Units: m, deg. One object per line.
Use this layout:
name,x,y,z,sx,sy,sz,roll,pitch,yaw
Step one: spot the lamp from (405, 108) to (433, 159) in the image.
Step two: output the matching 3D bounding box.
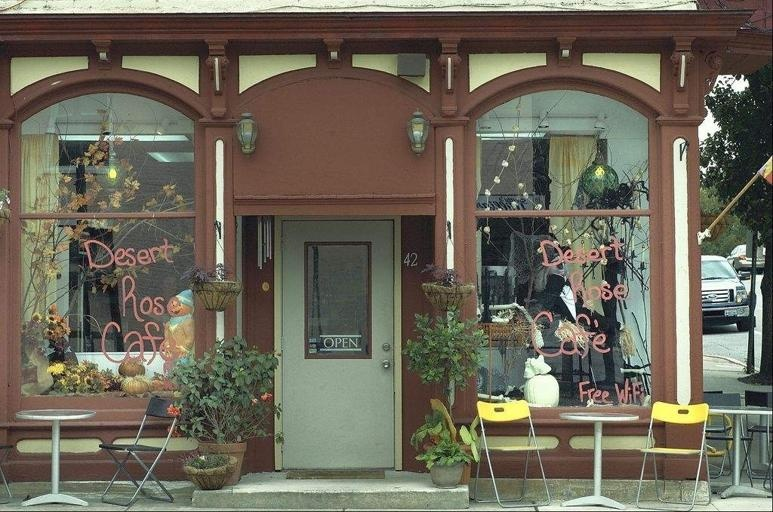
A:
lamp,0.472,-1.747,18.254,0.321,0.606,0.211,-1,-5,2

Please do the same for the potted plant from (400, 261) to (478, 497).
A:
potted plant,0.848,1.612,18.056,1.060,3.036,0.976,-3,-5,27

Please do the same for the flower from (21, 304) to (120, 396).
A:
flower,-4.468,1.302,18.847,1.539,1.441,1.109,-3,-4,15

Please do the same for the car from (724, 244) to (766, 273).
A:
car,8.602,0.056,31.477,0.856,0.621,1.937,-1,2,0

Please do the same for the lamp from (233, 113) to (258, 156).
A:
lamp,-1.936,-1.737,18.294,0.295,0.569,0.198,0,-5,-6

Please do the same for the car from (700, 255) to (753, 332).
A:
car,7.597,0.834,29.977,1.630,1.431,2.978,-1,-7,2
